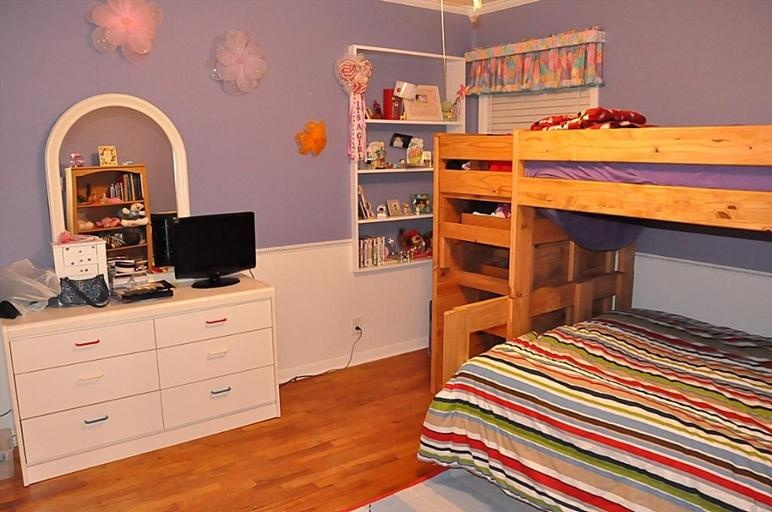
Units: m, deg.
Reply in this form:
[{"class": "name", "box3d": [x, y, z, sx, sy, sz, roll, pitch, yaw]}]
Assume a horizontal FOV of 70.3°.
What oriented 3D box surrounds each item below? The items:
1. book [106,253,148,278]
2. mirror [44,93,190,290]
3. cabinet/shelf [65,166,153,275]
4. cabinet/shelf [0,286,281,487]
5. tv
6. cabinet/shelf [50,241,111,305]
[{"class": "book", "box3d": [-2.101, 0.064, 4.426, 0.223, 0.077, 0.215, 3, 9, 12]}, {"class": "mirror", "box3d": [-2.145, -0.740, 4.338, 1.051, 1.069, 0.082, -11, 15, -28]}, {"class": "cabinet/shelf", "box3d": [-2.198, -0.273, 4.347, 0.577, 0.933, 0.245, -9, 26, -36]}, {"class": "cabinet/shelf", "box3d": [-2.143, 0.639, 4.508, 2.387, 1.306, 1.290, -6, 8, -35]}, {"class": "tv", "box3d": [-1.478, -0.068, 4.580, 0.672, 0.520, 0.218, -5, 11, -33]}, {"class": "cabinet/shelf", "box3d": [-2.369, 0.127, 4.252, 0.361, 0.453, 0.284, -8, -4, -33]}]
